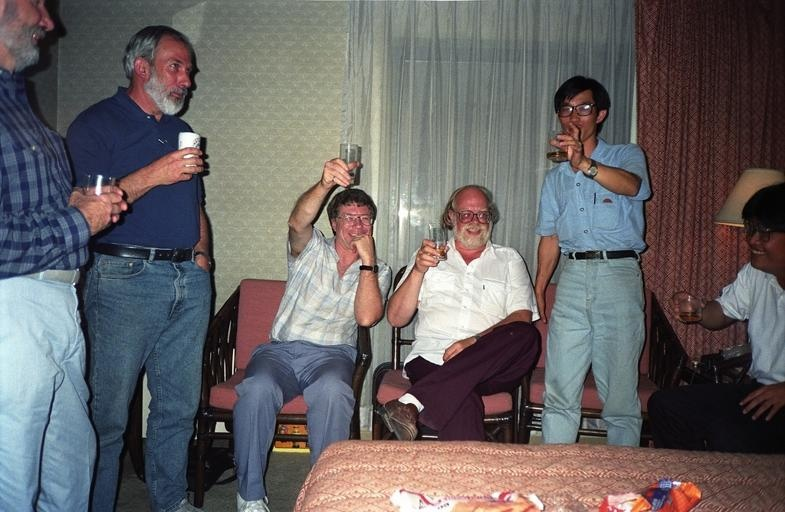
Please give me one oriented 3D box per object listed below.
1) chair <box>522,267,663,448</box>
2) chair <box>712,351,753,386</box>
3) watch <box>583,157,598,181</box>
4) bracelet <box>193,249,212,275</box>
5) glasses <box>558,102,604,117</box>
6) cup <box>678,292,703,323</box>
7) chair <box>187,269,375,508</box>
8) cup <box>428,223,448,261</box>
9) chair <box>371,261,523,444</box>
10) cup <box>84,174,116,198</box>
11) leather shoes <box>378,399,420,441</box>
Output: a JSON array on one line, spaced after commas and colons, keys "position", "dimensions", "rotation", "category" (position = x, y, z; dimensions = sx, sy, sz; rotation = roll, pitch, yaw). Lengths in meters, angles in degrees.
[{"position": [1.239, 0.639, 3.883], "dimensions": [0.589, 1.369, 0.432], "rotation": [2, 4, 22], "category": "chair"}, {"position": [2.036, 0.672, 3.782], "dimensions": [0.291, 0.219, 0.195], "rotation": [0, -8, -1], "category": "chair"}, {"position": [1.130, -0.492, 3.590], "dimensions": [0.077, 0.102, 0.054], "rotation": [9, 16, 22], "category": "watch"}, {"position": [-1.144, 0.034, 3.725], "dimensions": [0.110, 0.082, 0.149], "rotation": [35, -7, 1], "category": "bracelet"}, {"position": [1.131, -0.883, 3.815], "dimensions": [0.247, 0.076, 0.130], "rotation": [1, 10, 9], "category": "glasses"}, {"position": [1.659, 0.290, 3.586], "dimensions": [0.143, 0.162, 0.154], "rotation": [0, -8, 0], "category": "cup"}, {"position": [-0.692, 0.833, 4.387], "dimensions": [1.190, 1.534, 1.286], "rotation": [2, -2, -6], "category": "chair"}, {"position": [0.279, -0.095, 3.785], "dimensions": [0.102, 0.207, 0.204], "rotation": [2, 11, 16], "category": "cup"}, {"position": [0.411, 0.552, 3.783], "dimensions": [1.044, 0.944, 0.736], "rotation": [-3, 10, -10], "category": "chair"}, {"position": [-1.451, -0.352, 3.078], "dimensions": [0.119, 0.089, 0.119], "rotation": [3, 0, 0], "category": "cup"}, {"position": [0.047, 0.898, 3.626], "dimensions": [0.273, 0.196, 0.104], "rotation": [-6, -37, 33], "category": "leather shoes"}]
